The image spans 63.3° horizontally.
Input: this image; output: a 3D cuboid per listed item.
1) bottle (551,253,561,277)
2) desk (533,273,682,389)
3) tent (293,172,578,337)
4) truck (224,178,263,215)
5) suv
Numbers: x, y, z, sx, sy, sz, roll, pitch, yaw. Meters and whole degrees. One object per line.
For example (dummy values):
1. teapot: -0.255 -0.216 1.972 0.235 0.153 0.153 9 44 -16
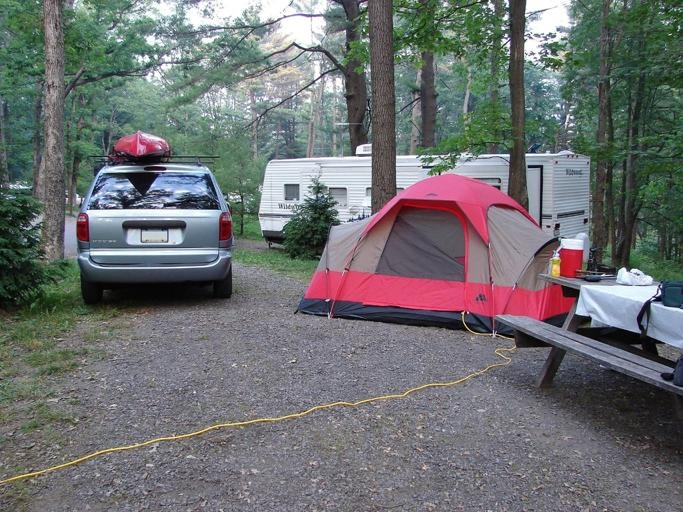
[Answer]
1. bottle: 2.280 0.079 5.896 0.084 0.219 0.309 7 14 16
2. desk: 2.420 0.690 5.719 1.086 0.862 1.009 1 10 -18
3. tent: 1.699 0.035 8.140 3.314 1.452 2.430 4 7 25
4. truck: -3.996 -2.430 21.806 1.742 1.723 1.336 -6 10 -40
5. suv: -2.489 -0.448 7.294 1.558 1.129 2.534 -1 8 -9
